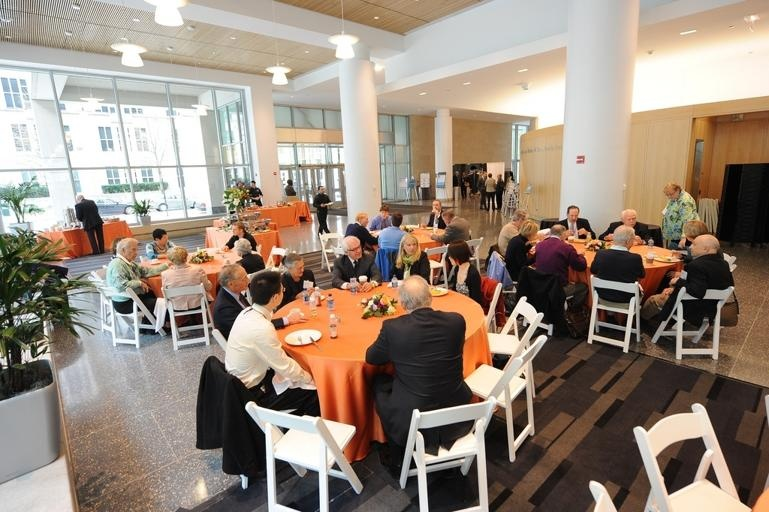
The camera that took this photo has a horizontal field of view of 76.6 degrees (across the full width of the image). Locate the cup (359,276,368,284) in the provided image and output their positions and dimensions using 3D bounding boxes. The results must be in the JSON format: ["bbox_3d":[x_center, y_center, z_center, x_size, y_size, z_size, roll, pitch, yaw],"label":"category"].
[{"bbox_3d":[-0.289,0.325,6.635,0.093,0.070,0.091,-4,22,1],"label":"cup"}]

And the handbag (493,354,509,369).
[{"bbox_3d":[1.503,1.366,6.310,0.188,0.049,0.185,-5,10,-22],"label":"handbag"}]

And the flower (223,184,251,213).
[{"bbox_3d":[-3.665,-1.379,12.004,0.521,0.606,1.940,-8,10,-18],"label":"flower"}]

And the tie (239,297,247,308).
[{"bbox_3d":[-2.086,0.682,7.155,0.030,0.085,0.213,-40,13,-4],"label":"tie"}]

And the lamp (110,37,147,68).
[{"bbox_3d":[-4.786,-3.804,9.219,0.503,0.448,1.118,-9,11,-24],"label":"lamp"}]

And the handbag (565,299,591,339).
[{"bbox_3d":[2.824,0.945,7.170,0.470,0.585,0.332,-13,3,-41],"label":"handbag"}]

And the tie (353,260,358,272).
[{"bbox_3d":[-0.423,0.147,7.115,0.096,0.134,0.036,1,-9,10],"label":"tie"}]

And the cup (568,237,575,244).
[{"bbox_3d":[3.230,-0.274,8.417,0.142,0.083,0.140,-6,21,2],"label":"cup"}]
